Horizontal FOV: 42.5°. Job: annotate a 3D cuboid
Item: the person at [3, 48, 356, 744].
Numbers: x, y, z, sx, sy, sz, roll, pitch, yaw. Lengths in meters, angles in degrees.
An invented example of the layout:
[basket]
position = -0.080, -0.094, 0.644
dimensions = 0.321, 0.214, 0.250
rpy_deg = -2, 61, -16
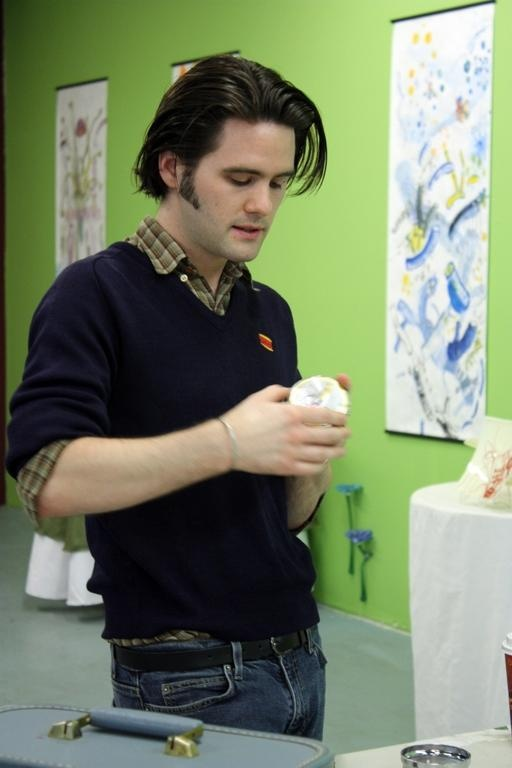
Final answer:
[person]
position = -0.097, 0.052, 1.022
dimensions = 0.481, 1.087, 0.452
rpy_deg = 0, 1, -6
